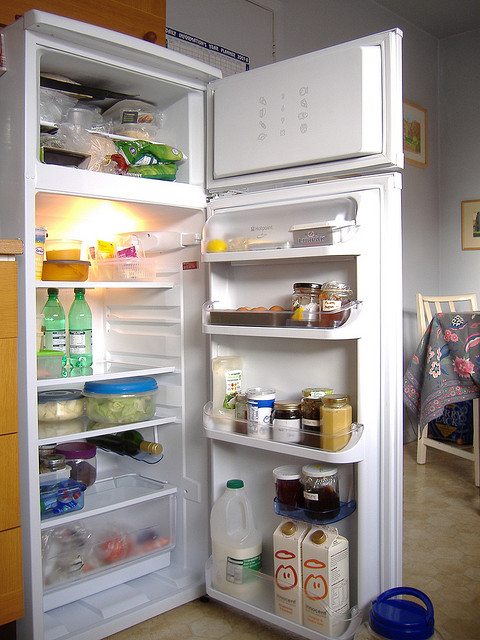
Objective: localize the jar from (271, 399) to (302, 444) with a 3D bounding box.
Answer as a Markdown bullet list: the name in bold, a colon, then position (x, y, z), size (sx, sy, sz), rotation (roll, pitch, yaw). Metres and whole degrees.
- **jar**: position (0.103, 0.223, 1.082), size (0.079, 0.084, 0.078), rotation (-1, -4, 0)

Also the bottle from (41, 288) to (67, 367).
- **bottle**: position (-0.537, 0.024, 1.426), size (0.075, 0.231, 0.073), rotation (1, 4, 0)

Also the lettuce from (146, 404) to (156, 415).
- **lettuce**: position (-0.260, 0.264, 1.453), size (0.027, 0.025, 0.046), rotation (-1, 0, 2)

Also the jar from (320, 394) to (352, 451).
- **jar**: position (0.187, 0.204, 1.020), size (0.063, 0.108, 0.052), rotation (-3, 7, -35)

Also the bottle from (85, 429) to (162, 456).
- **bottle**: position (-0.356, 0.380, 1.537), size (0.274, 0.074, 0.066), rotation (3, 20, 33)

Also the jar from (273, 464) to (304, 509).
- **jar**: position (0.111, 0.377, 1.113), size (0.073, 0.075, 0.072), rotation (-1, -1, 0)

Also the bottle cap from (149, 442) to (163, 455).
- **bottle cap**: position (-0.249, 0.382, 1.461), size (0.034, 0.033, 0.031), rotation (2, -5, -14)

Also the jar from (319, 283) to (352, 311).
- **jar**: position (0.197, -0.048, 1.015), size (0.060, 0.055, 0.059), rotation (-1, 3, 0)

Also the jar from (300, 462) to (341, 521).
- **jar**: position (0.174, 0.370, 1.072), size (0.089, 0.106, 0.083), rotation (-1, 3, 0)

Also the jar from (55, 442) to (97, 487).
- **jar**: position (-0.488, 0.425, 1.526), size (0.127, 0.132, 0.125), rotation (0, 0, 0)

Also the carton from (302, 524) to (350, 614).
- **carton**: position (0.182, 0.544, 1.070), size (0.091, 0.177, 0.086), rotation (1, 4, 34)

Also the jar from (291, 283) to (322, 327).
- **jar**: position (0.141, -0.032, 1.047), size (0.067, 0.091, 0.078), rotation (-1, 3, 8)

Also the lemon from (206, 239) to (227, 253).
- **lemon**: position (-0.057, -0.181, 1.204), size (0.051, 0.038, 0.092), rotation (-1, 4, -1)

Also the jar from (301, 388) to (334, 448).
- **jar**: position (0.155, 0.206, 1.071), size (0.068, 0.113, 0.064), rotation (1, 9, 0)
